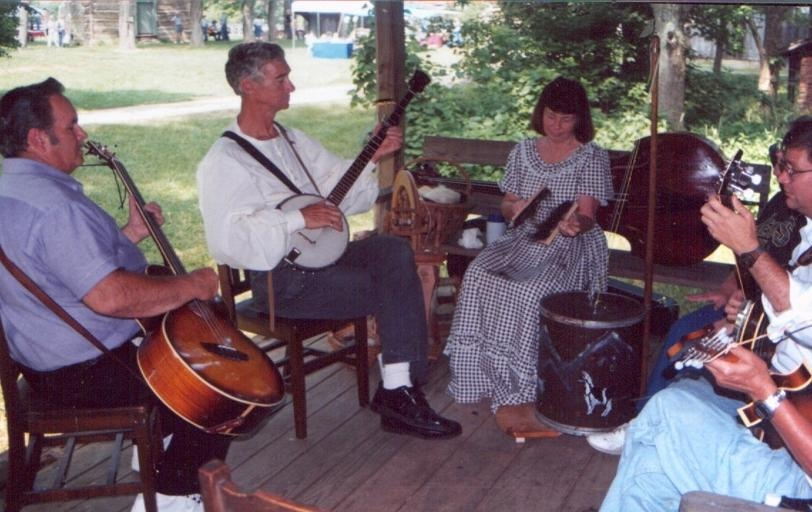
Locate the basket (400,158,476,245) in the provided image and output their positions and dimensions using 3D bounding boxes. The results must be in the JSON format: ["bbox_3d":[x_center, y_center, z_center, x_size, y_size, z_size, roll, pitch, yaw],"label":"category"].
[{"bbox_3d":[0.197,-0.446,5.718,0.634,0.816,0.445,0,-5,3],"label":"basket"}]

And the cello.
[{"bbox_3d":[1.448,-0.608,5.962,2.471,0.955,0.334,10,18,19],"label":"cello"}]
